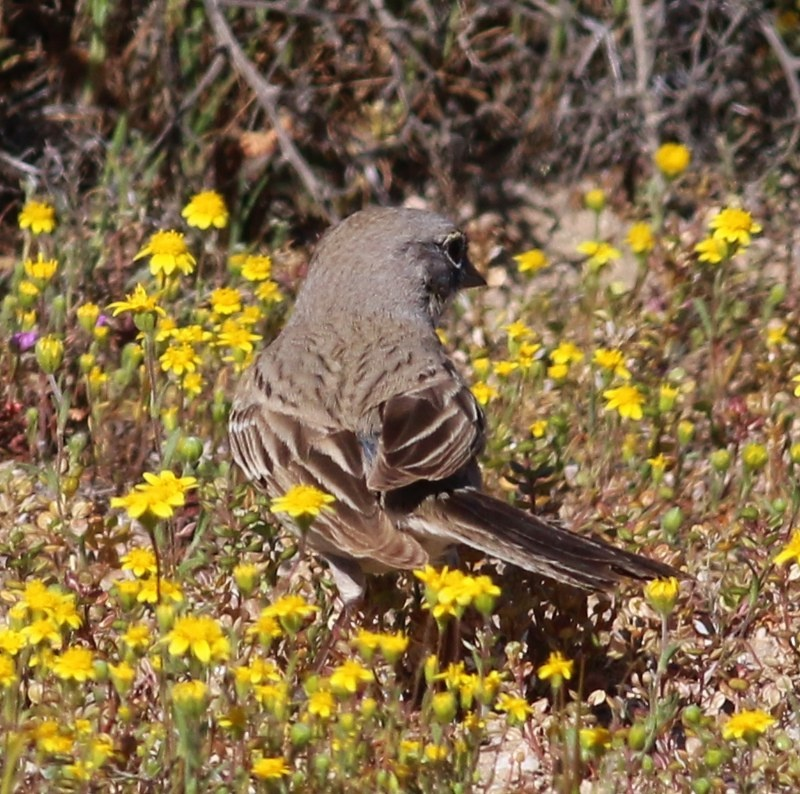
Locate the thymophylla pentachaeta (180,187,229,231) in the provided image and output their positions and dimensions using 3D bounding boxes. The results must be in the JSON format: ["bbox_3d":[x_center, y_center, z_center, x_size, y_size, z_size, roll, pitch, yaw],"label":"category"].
[{"bbox_3d":[-0.841,-0.790,5.600,0.185,0.177,0.317,4,33,-10],"label":"thymophylla pentachaeta"}]
